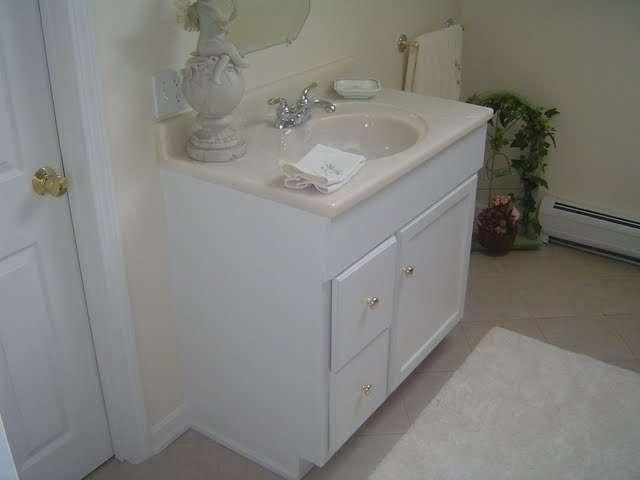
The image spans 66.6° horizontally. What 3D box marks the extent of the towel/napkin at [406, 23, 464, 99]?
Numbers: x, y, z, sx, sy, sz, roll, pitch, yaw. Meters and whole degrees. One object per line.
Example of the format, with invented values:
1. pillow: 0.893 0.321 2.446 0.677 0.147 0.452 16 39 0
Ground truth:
1. towel/napkin: 0.561 -0.844 2.343 0.301 0.320 0.112 -10 28 -19

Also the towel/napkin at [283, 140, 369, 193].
1. towel/napkin: 0.000 -0.189 1.301 0.165 0.055 0.236 14 30 26

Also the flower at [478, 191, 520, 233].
1. flower: 0.953 -0.159 2.548 0.169 0.082 0.222 24 45 28

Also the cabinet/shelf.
1. cabinet/shelf: 0.050 0.228 1.592 0.989 0.956 0.458 -13 29 -24

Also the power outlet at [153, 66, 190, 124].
1. power outlet: -0.430 -0.408 1.361 0.014 0.134 0.134 12 29 29
